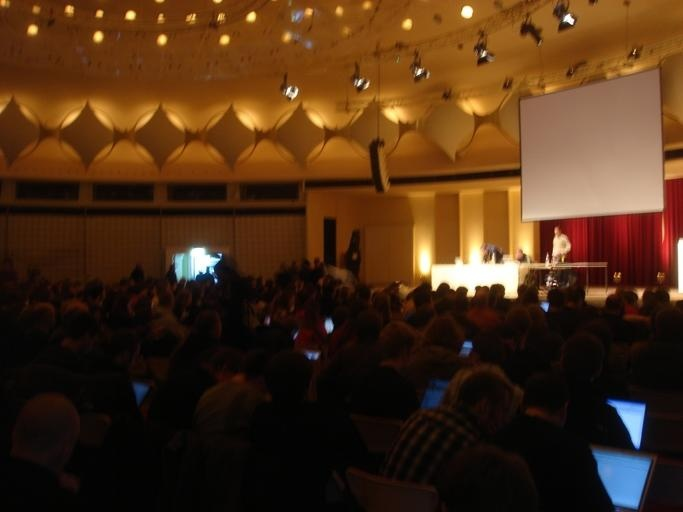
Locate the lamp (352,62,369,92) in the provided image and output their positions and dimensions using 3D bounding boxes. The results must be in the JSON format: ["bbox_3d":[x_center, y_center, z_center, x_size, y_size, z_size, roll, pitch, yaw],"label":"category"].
[{"bbox_3d":[0.372,-4.041,12.341,0.377,0.187,1.208,14,25,-11],"label":"lamp"}]

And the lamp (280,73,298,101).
[{"bbox_3d":[-1.402,-4.483,14.246,0.380,0.449,1.061,17,32,-25],"label":"lamp"}]
